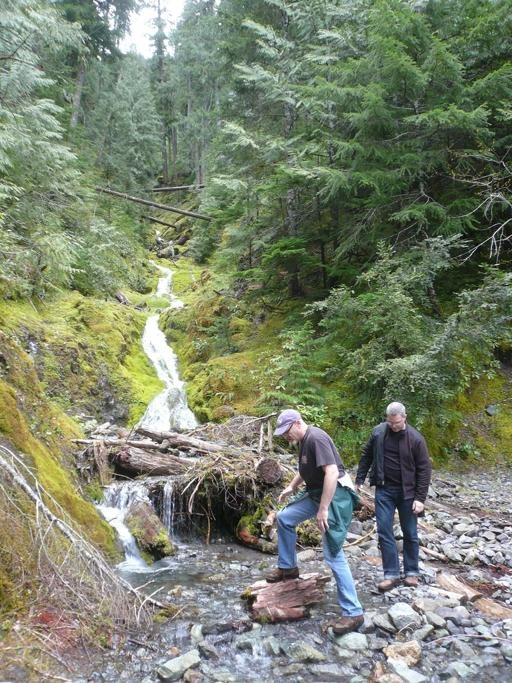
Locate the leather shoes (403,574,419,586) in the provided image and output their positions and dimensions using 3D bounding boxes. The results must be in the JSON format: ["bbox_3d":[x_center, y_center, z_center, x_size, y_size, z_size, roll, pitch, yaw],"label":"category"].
[{"bbox_3d":[1.657,2.583,6.465,0.157,0.058,0.197,-5,3,15],"label":"leather shoes"}]

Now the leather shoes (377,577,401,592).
[{"bbox_3d":[1.419,2.617,6.426,0.278,0.107,0.093,7,-27,-38],"label":"leather shoes"}]

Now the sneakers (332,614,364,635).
[{"bbox_3d":[0.864,2.702,5.681,0.376,0.146,0.123,2,-7,-28],"label":"sneakers"}]

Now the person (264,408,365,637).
[{"bbox_3d":[0.532,1.742,5.976,0.898,1.460,0.642,-5,4,21],"label":"person"}]
